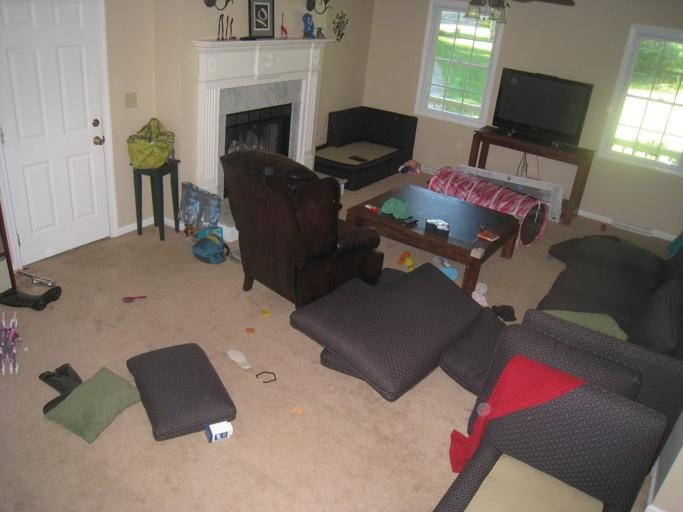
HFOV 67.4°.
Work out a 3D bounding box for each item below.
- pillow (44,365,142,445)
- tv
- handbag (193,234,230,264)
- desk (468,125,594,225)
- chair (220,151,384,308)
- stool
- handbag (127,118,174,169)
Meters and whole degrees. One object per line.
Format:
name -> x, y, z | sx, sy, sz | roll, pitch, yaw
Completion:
pillow -> -1.702, 1.037, 3.534 | 0.426, 0.117, 0.500 | 19, 30, 26
tv -> 2.732, -1.961, 6.770 | 0.935, 0.720, 0.313 | 24, 40, 24
handbag -> -1.318, -0.058, 5.142 | 0.281, 0.136, 0.309 | 19, 22, 20
desk -> 2.452, -1.013, 6.438 | 1.192, 0.835, 0.388 | 32, 38, 26
chair -> -0.362, -0.248, 4.576 | 1.261, 1.434, 1.281 | 15, 27, 24
stool -> -1.965, -0.600, 5.330 | 0.455, 0.915, 0.467 | 19, 31, 24
handbag -> -1.944, -1.147, 5.267 | 0.444, 0.309, 0.605 | 2, 26, 0
